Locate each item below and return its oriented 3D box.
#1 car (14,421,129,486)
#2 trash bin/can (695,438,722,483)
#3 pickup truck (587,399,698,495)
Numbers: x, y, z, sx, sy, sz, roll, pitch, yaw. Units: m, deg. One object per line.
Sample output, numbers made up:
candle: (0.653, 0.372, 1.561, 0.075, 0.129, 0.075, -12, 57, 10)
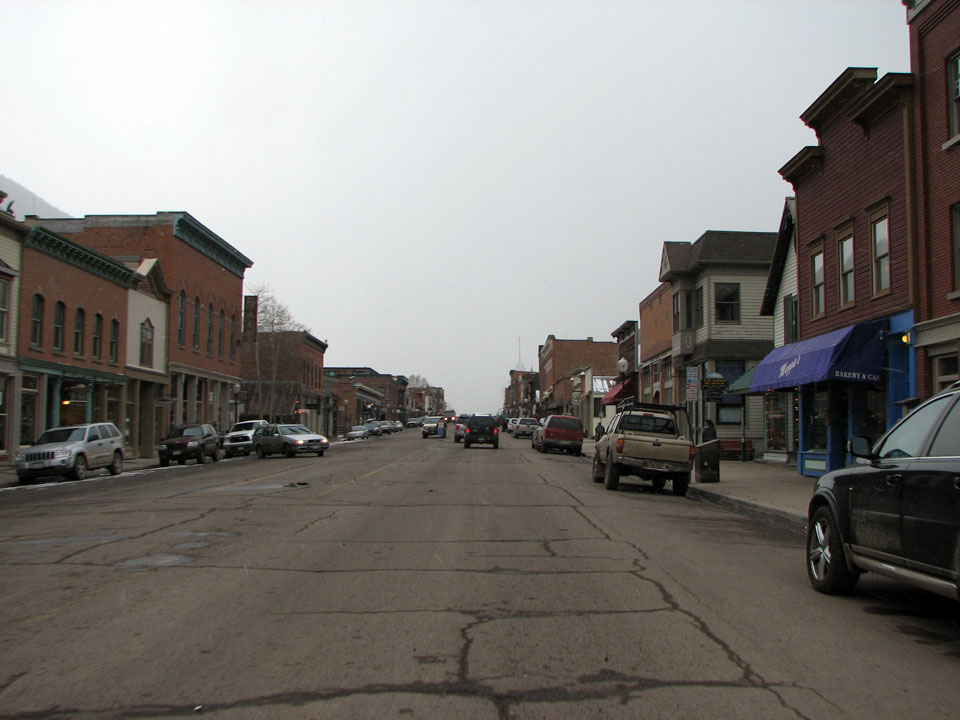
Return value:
car: (-14.052, 3.146, 26.953, 1.497, 1.247, 3.006, -3, -11, 5)
trash bin/can: (6.731, 2.995, 23.352, 0.682, 1.318, 1.074, -3, -9, 16)
pickup truck: (4.347, 2.413, 22.214, 1.655, 1.865, 3.276, 4, -3, -3)
